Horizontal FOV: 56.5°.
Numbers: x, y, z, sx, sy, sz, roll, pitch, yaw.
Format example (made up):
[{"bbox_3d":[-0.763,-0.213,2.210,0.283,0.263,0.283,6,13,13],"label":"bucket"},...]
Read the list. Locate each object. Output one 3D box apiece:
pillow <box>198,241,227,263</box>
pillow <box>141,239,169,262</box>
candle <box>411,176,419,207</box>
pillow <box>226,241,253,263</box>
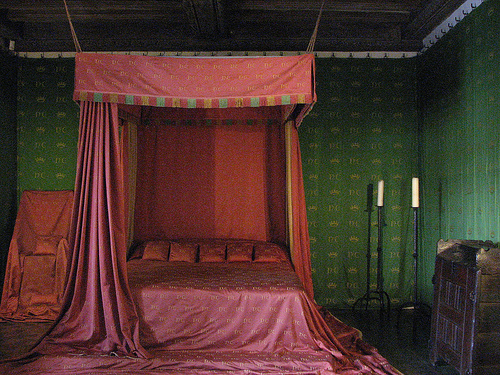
[{"bbox_3d":[-0.528,0.915,6.596,0.285,0.088,0.258,2,44,-6],"label":"pillow"},{"bbox_3d":[-1.321,0.900,6.574,0.258,0.083,0.278,1,39,-2],"label":"pillow"},{"bbox_3d":[2.307,0.060,6.486,0.104,0.393,0.315,5,10,17],"label":"candle"},{"bbox_3d":[-0.143,0.911,6.584,0.248,0.085,0.276,1,28,2],"label":"pillow"}]
